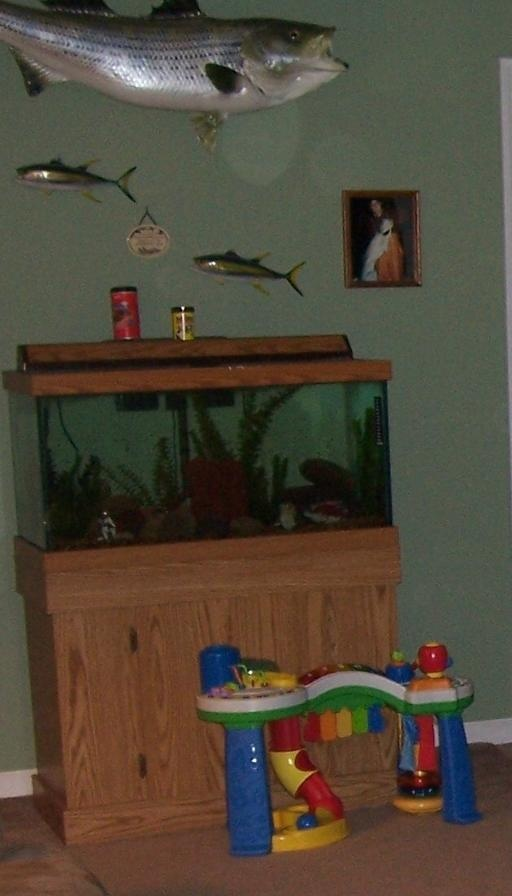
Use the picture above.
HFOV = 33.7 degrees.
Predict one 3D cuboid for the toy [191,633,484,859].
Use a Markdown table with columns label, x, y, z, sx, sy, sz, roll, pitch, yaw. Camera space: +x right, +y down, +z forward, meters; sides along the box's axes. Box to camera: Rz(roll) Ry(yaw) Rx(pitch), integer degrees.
| label | x | y | z | sx | sy | sz | roll | pitch | yaw |
| --- | --- | --- | --- | --- | --- | --- | --- | --- | --- |
| toy | 0.207 | 0.735 | 2.160 | 0.695 | 0.445 | 0.330 | -1 | -7 | -12 |

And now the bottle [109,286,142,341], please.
| label | x | y | z | sx | sy | sz | roll | pitch | yaw |
| --- | --- | --- | --- | --- | --- | --- | --- | --- | --- |
| bottle | -0.368 | -0.373 | 2.393 | 0.077 | 0.159 | 0.293 | -2 | 0 | -8 |

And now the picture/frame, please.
| label | x | y | z | sx | sy | sz | roll | pitch | yaw |
| --- | --- | --- | --- | --- | --- | --- | --- | --- | --- |
| picture/frame | 0.392 | -0.692 | 2.736 | 0.346 | 0.374 | 0.038 | -2 | 4 | -16 |
